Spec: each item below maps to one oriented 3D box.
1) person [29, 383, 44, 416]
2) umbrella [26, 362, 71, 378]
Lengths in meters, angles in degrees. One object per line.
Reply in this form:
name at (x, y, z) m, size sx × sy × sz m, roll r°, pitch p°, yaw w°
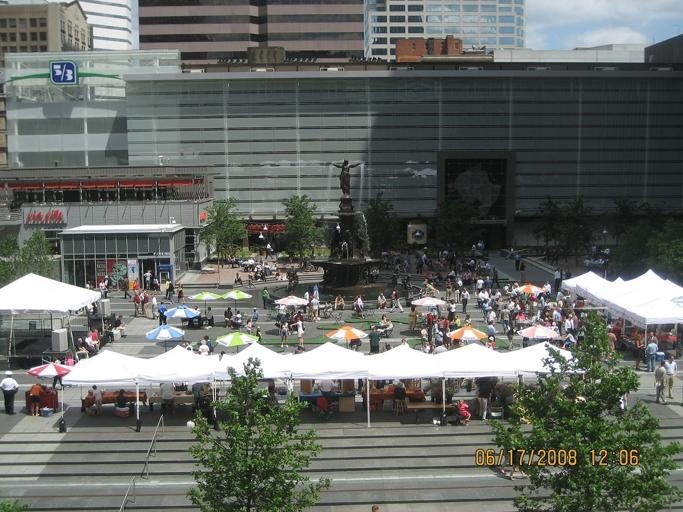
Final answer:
person at (-24.937, 11.798, 128.793) m, size 1.068 × 2.477 × 0.479 m, roll 0°, pitch 5°, yaw -13°
umbrella at (-23.672, 9.434, 128.902) m, size 3.226 × 1.196 × 1.588 m, roll 1°, pitch 5°, yaw 3°
